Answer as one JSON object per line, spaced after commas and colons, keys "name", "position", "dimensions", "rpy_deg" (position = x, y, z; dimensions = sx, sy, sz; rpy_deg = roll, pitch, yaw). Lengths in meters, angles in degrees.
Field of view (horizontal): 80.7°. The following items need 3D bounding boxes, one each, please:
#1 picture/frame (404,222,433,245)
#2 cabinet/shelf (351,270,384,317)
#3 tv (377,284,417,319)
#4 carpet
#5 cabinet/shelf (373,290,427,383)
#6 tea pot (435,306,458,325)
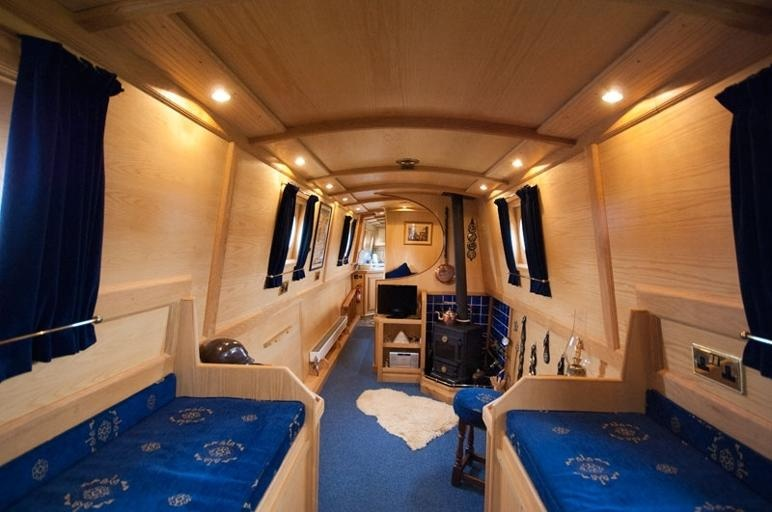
{"name": "picture/frame", "position": [0.471, -0.329, 6.651], "dimensions": [0.343, 0.274, 0.033], "rpy_deg": [2, -13, 2]}
{"name": "cabinet/shelf", "position": [-0.225, 0.811, 9.981], "dimensions": [0.394, 0.953, 1.011], "rpy_deg": [-10, -1, -17]}
{"name": "tv", "position": [0.133, 0.616, 6.156], "dimensions": [0.465, 0.376, 0.107], "rpy_deg": [1, -6, 4]}
{"name": "carpet", "position": [0.232, 1.781, 4.914], "dimensions": [0.810, 0.043, 0.600], "rpy_deg": [6, 7, 42]}
{"name": "cabinet/shelf", "position": [0.207, 1.063, 6.298], "dimensions": [0.713, 1.195, 0.651], "rpy_deg": [0, 2, -3]}
{"name": "tea pot", "position": [0.758, 0.781, 5.870], "dimensions": [0.243, 0.160, 0.157], "rpy_deg": [-2, -6, 26]}
